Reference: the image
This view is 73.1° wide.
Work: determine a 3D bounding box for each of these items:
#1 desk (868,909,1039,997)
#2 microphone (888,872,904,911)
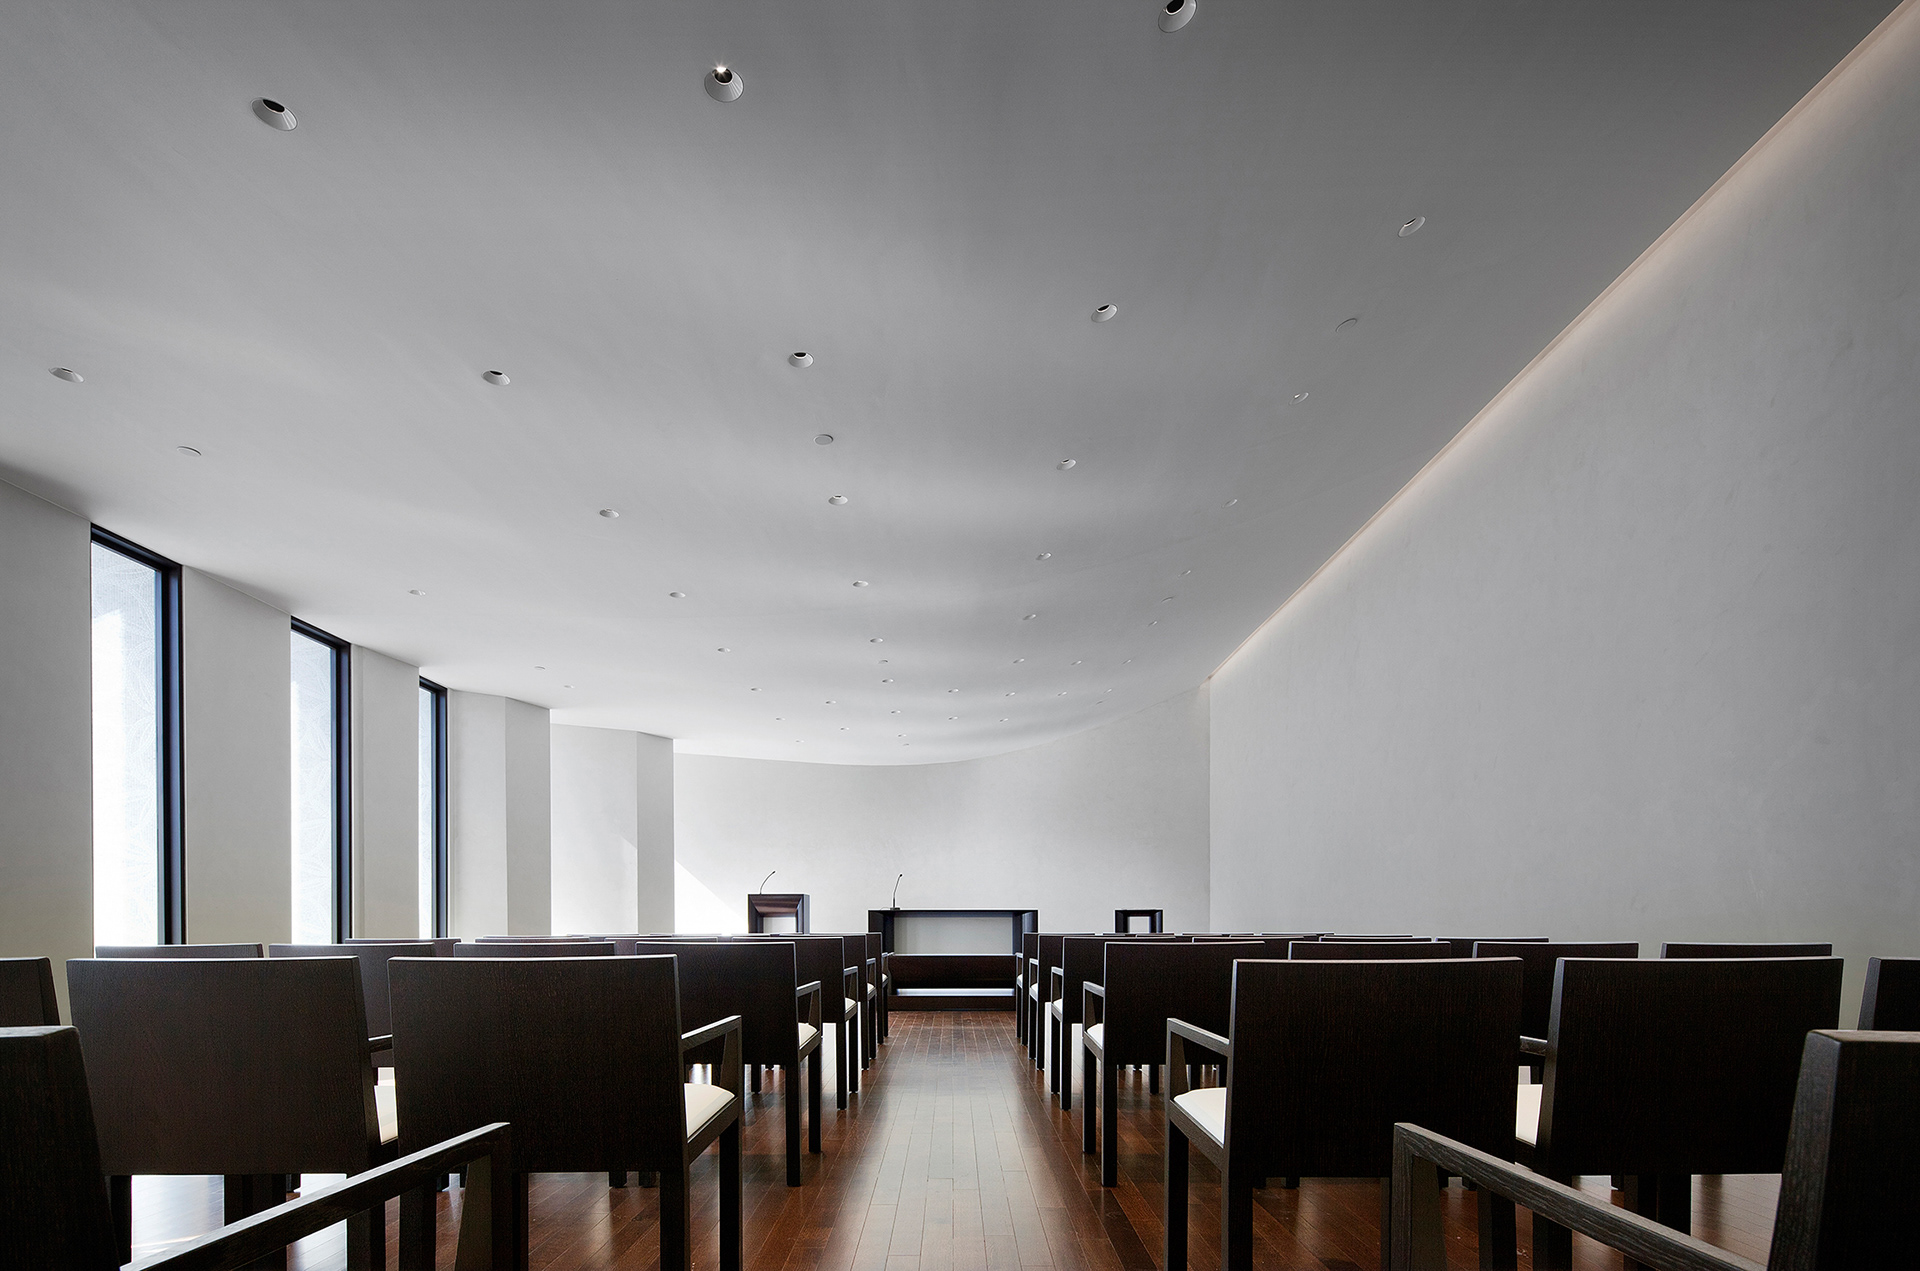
[{"bbox_3d":[-0.033,3.373,13.604,1.602,1.004,0.580,-1,-4,1],"label":"desk"},{"bbox_3d":[-0.863,3.505,17.909,0.159,0.439,0.248,-5,-11,21],"label":"microphone"}]
